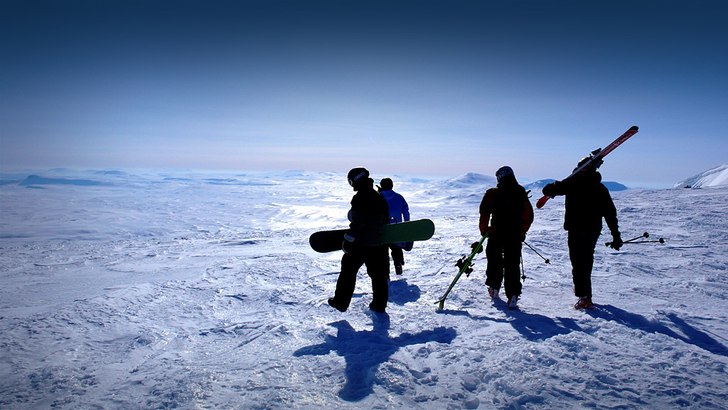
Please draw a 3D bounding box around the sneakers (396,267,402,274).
[{"bbox_3d":[1.351,2.476,17.695,0.257,0.195,0.222,0,-10,16],"label":"sneakers"}]

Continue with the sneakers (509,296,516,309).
[{"bbox_3d":[4.750,3.071,14.740,0.315,0.387,0.154,-7,9,13],"label":"sneakers"}]

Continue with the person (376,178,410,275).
[{"bbox_3d":[1.233,0.764,16.948,0.967,3.477,0.606,-10,6,-8],"label":"person"}]
